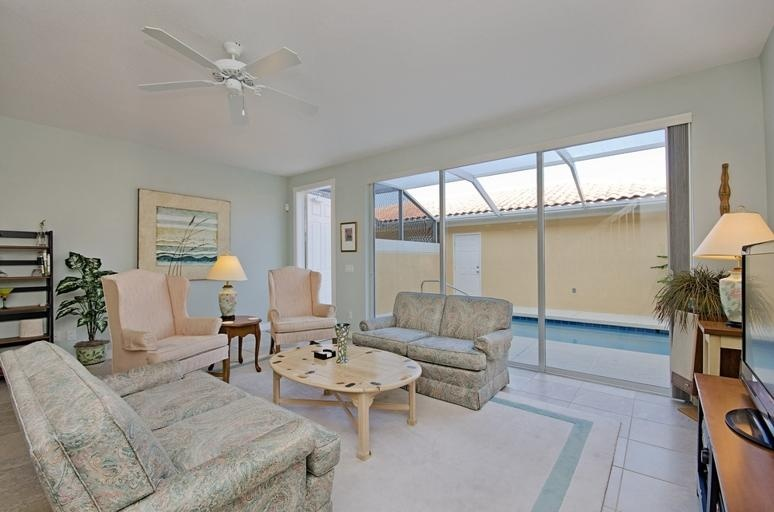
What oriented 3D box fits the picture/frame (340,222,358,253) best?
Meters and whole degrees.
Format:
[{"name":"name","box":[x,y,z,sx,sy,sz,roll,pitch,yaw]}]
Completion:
[{"name":"picture/frame","box":[-0.591,-0.294,7.096,0.494,0.553,0.023,-4,-6,41]}]

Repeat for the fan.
[{"name":"fan","box":[-1.401,-1.672,4.193,1.438,0.795,1.513,-1,-2,-21]}]

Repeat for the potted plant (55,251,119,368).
[{"name":"potted plant","box":[-3.701,0.787,5.674,0.585,1.056,0.671,-3,-2,35]}]

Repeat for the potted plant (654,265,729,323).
[{"name":"potted plant","box":[2.848,0.393,4.370,0.602,0.508,0.591,2,-8,-11]}]
